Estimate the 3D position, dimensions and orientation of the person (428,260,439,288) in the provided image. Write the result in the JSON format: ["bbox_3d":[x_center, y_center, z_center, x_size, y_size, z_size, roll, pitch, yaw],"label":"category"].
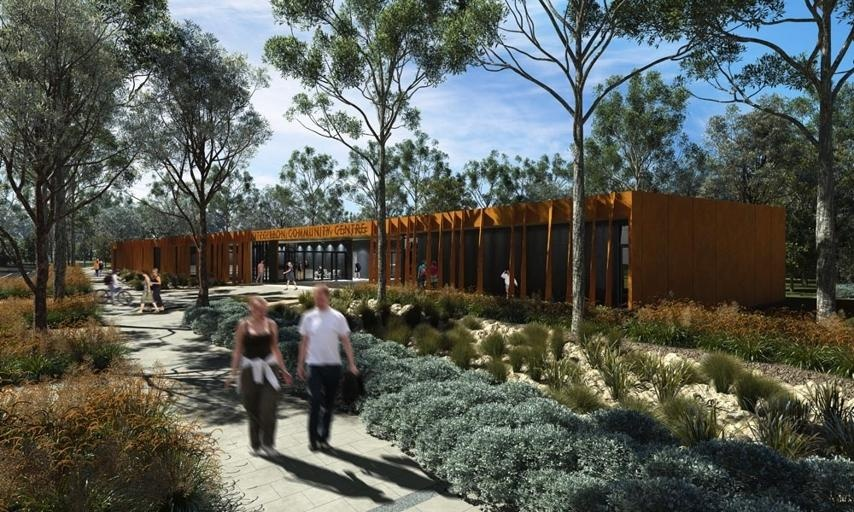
[{"bbox_3d":[0.344,0.914,32.003,0.458,1.219,1.250,-1,-1,0],"label":"person"}]

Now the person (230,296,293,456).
[{"bbox_3d":[-3.934,2.809,15.386,1.106,2.986,0.316,-1,0,-1],"label":"person"}]

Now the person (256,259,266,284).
[{"bbox_3d":[-10.976,1.038,43.318,0.493,1.249,1.647,-1,-1,-14],"label":"person"}]
